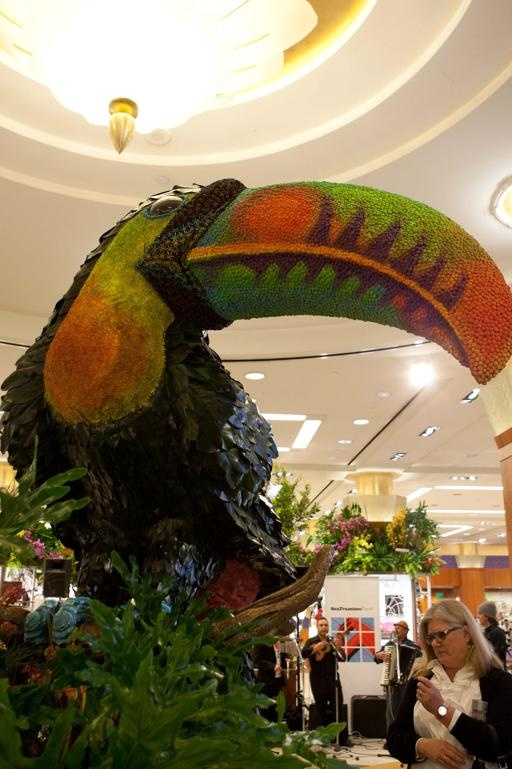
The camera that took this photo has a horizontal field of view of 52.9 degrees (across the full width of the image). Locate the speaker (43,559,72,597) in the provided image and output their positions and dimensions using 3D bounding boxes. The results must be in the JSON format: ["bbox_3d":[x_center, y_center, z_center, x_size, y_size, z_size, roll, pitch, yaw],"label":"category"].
[{"bbox_3d":[-0.323,0.313,0.837,0.041,0.072,0.090,5,-14,-20],"label":"speaker"}]

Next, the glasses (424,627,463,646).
[{"bbox_3d":[0.736,0.977,2.023,0.123,0.033,0.112,-11,-19,-30],"label":"glasses"}]

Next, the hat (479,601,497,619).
[{"bbox_3d":[3.089,2.987,6.920,0.209,0.222,0.260,6,-26,21],"label":"hat"}]

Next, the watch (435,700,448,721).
[{"bbox_3d":[0.646,1.122,1.781,0.033,0.050,0.052,1,-24,4],"label":"watch"}]

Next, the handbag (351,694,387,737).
[{"bbox_3d":[1.580,4.641,7.468,0.594,0.525,0.546,-1,-4,-2],"label":"handbag"}]
